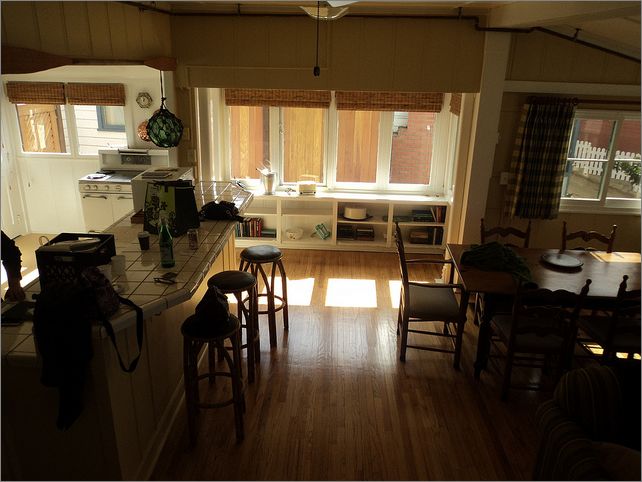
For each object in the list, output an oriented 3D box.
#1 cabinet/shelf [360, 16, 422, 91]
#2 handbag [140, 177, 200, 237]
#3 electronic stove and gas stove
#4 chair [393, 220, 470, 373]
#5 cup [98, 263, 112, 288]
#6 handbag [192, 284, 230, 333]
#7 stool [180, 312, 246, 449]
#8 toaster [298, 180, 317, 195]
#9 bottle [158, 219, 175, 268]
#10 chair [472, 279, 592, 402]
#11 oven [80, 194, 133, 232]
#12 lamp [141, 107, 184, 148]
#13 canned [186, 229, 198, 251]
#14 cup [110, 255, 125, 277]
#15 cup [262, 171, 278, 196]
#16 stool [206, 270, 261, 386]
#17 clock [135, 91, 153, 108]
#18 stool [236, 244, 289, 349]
[{"bbox_3d":[0.763,-2.015,5.115,0.658,0.705,0.171,-1,17,1],"label":"cabinet/shelf"},{"bbox_3d":[-1.250,-0.306,3.849,0.358,0.448,0.301,8,20,9],"label":"handbag"},{"bbox_3d":[-2.517,-0.895,5.983,0.786,0.876,0.457,0,16,-3],"label":"electronic stove and gas stove"},{"bbox_3d":[1.031,0.502,4.461,0.786,1.129,0.790,10,20,33],"label":"chair"},{"bbox_3d":[-1.334,0.209,2.925,0.113,0.129,0.113,0,11,0],"label":"cup"},{"bbox_3d":[-0.798,0.551,3.391,0.252,0.354,0.498,1,-29,-16],"label":"handbag"},{"bbox_3d":[-0.831,0.946,3.602,0.441,1.011,0.771,-3,14,-11],"label":"stool"},{"bbox_3d":[-0.214,-0.754,6.707,0.182,0.155,0.197,0,9,-3],"label":"toaster"},{"bbox_3d":[-1.086,0.004,3.299,0.114,0.353,0.127,11,18,40],"label":"bottle"},{"bbox_3d":[1.793,0.743,3.940,0.545,1.147,0.668,5,17,10],"label":"chair"},{"bbox_3d":[-2.684,-0.376,5.854,0.471,0.526,0.283,1,14,0],"label":"oven"},{"bbox_3d":[-1.460,-1.049,4.338,0.307,0.368,0.331,-1,13,-8],"label":"lamp"},{"bbox_3d":[-1.016,-0.025,3.683,0.078,0.134,0.275,-4,15,-15],"label":"canned"},{"bbox_3d":[-1.375,0.162,3.187,0.111,0.132,0.117,1,12,0],"label":"cup"},{"bbox_3d":[-0.772,-0.851,6.813,0.207,0.309,0.354,-2,14,-7],"label":"cup"},{"bbox_3d":[-0.711,0.641,3.980,0.420,0.512,0.453,-9,-6,8],"label":"stool"},{"bbox_3d":[-2.508,-1.980,6.588,0.249,0.221,0.057,2,14,11],"label":"clock"},{"bbox_3d":[-0.528,0.528,4.564,0.478,0.810,0.496,-8,11,-23],"label":"stool"}]
